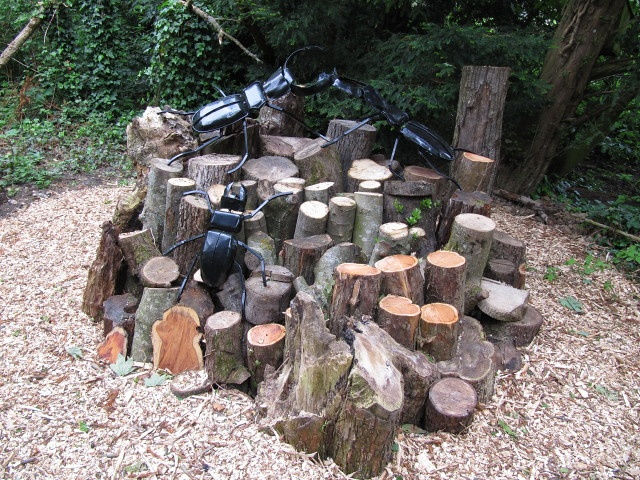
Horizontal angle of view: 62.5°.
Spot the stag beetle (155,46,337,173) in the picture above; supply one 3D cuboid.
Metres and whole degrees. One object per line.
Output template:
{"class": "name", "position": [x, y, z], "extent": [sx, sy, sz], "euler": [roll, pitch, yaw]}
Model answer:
{"class": "stag beetle", "position": [-0.699, -1.576, 6.131], "extent": [2.096, 1.667, 0.634], "euler": [-19, 78, -12]}

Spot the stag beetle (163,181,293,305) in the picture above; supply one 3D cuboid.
{"class": "stag beetle", "position": [-1.046, -0.037, 5.414], "extent": [1.019, 0.903, 1.151], "euler": [-1, 39, 2]}
